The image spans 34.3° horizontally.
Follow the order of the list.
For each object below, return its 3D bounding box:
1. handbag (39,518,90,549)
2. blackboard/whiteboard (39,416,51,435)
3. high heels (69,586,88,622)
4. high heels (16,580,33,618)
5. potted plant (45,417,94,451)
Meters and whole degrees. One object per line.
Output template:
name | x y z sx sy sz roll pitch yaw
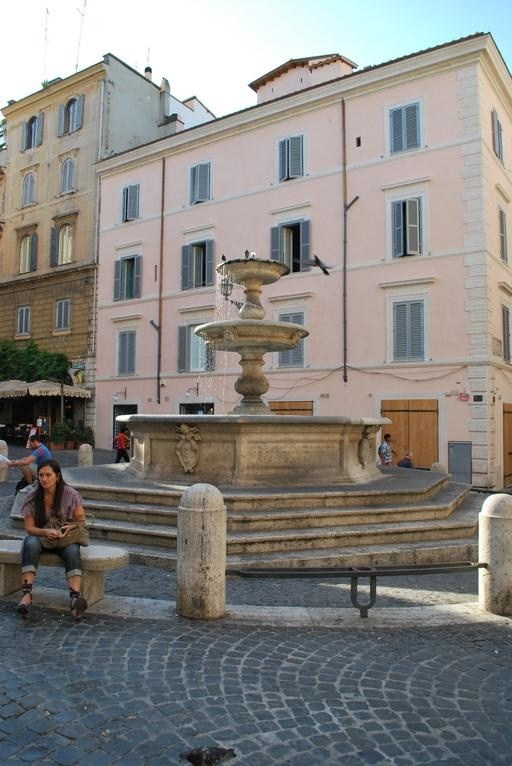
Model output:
handbag | -1.407 1.151 6.243 0.225 0.113 0.249 -4 6 -44
blackboard/whiteboard | -6.323 1.295 24.951 0.295 0.610 1.369 2 5 -10
high heels | -1.269 1.596 5.962 0.107 0.208 0.239 2 5 -12
high heels | -1.653 1.581 5.984 0.090 0.122 0.289 4 -45 -8
potted plant | -5.956 1.713 26.864 1.705 1.133 1.237 3 -10 -17
